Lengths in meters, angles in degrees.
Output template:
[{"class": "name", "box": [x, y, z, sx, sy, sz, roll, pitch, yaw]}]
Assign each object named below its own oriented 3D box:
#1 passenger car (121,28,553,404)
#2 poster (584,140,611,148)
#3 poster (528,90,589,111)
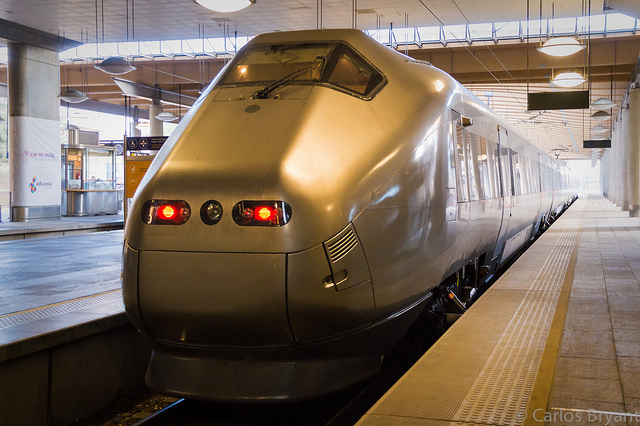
[{"class": "passenger car", "box": [2.304, -0.391, 8.952, 2.869, 3.397, 12.513, -1, 3, 32]}, {"class": "poster", "box": [14.844, -3.731, 23.973, 1.132, 0.380, 0.691, -2, 7, -17]}, {"class": "poster", "box": [7.046, -3.327, 13.233, 1.359, 0.522, 0.187, 2, 5, 27]}]
